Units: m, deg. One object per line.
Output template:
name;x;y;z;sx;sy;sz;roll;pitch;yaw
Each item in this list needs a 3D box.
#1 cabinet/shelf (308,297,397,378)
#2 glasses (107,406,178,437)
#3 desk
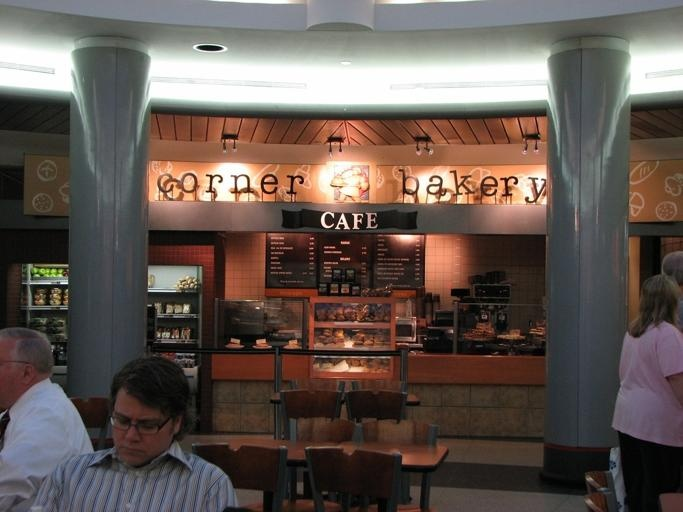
cabinet/shelf;0.106;1.140;8.544;1.142;1.076;0.728;-1;-19;4
glasses;-0.822;0.674;2.641;0.249;0.087;0.049;-1;-4;2
desk;-0.137;1.324;3.985;1.349;0.316;0.825;-1;-6;11
